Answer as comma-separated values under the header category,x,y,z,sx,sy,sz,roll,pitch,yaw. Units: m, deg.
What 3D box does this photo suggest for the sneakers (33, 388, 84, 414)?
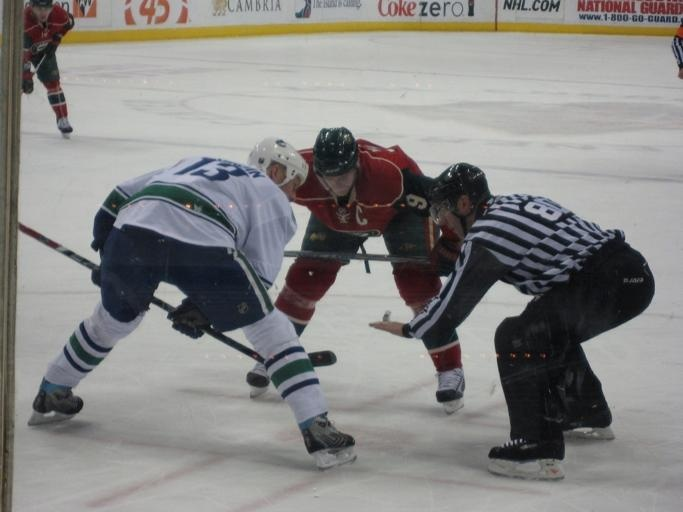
category,x,y,z,sx,sy,sz,roll,pitch,yaw
sneakers,-0.981,0.510,3.700,0.146,0.083,0.084,1,15,-17

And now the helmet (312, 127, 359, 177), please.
category,x,y,z,sx,sy,sz,roll,pitch,yaw
helmet,-0.024,-0.383,3.937,0.155,0.168,0.187,0,22,3

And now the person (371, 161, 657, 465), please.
category,x,y,z,sx,sy,sz,roll,pitch,yaw
person,0.654,0.216,3.556,1.105,1.147,0.849,-2,3,21

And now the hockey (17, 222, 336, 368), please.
category,x,y,z,sx,sy,sz,roll,pitch,yaw
hockey,-0.558,0.154,3.793,0.875,0.091,0.145,30,46,-8

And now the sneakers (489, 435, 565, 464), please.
category,x,y,z,sx,sy,sz,roll,pitch,yaw
sneakers,0.613,0.645,3.575,0.263,0.091,0.087,2,-1,6

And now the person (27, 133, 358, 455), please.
category,x,y,z,sx,sy,sz,roll,pitch,yaw
person,-0.492,0.173,3.636,1.112,1.005,0.274,2,10,11

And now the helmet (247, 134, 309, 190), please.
category,x,y,z,sx,sy,sz,roll,pitch,yaw
helmet,-0.219,-0.345,3.944,0.211,0.180,0.162,25,7,-23

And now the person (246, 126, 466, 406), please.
category,x,y,z,sx,sy,sz,roll,pitch,yaw
person,0.047,0.078,3.935,0.904,1.073,0.736,8,16,31
